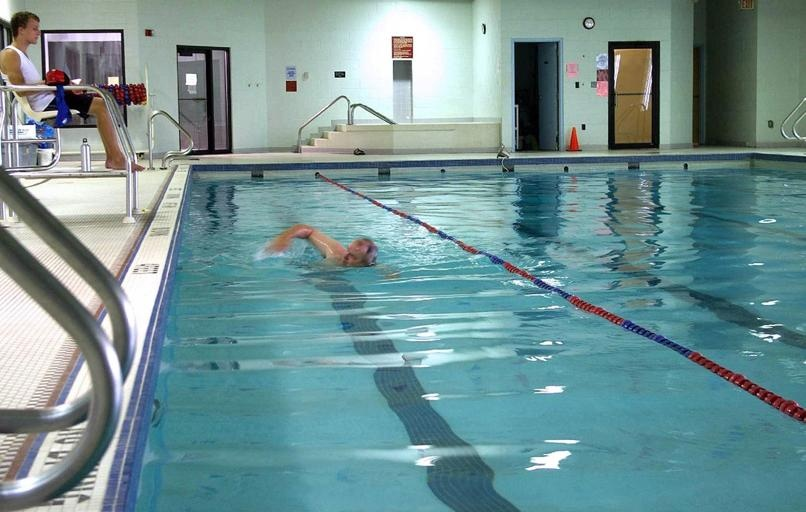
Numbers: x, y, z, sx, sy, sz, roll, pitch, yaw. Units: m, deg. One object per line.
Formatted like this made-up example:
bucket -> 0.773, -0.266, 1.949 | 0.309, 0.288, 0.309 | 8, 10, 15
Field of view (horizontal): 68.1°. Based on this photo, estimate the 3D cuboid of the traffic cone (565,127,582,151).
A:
traffic cone -> 4.610, -3.152, 16.038 | 0.361, 0.596, 0.612 | 4, 16, 17
